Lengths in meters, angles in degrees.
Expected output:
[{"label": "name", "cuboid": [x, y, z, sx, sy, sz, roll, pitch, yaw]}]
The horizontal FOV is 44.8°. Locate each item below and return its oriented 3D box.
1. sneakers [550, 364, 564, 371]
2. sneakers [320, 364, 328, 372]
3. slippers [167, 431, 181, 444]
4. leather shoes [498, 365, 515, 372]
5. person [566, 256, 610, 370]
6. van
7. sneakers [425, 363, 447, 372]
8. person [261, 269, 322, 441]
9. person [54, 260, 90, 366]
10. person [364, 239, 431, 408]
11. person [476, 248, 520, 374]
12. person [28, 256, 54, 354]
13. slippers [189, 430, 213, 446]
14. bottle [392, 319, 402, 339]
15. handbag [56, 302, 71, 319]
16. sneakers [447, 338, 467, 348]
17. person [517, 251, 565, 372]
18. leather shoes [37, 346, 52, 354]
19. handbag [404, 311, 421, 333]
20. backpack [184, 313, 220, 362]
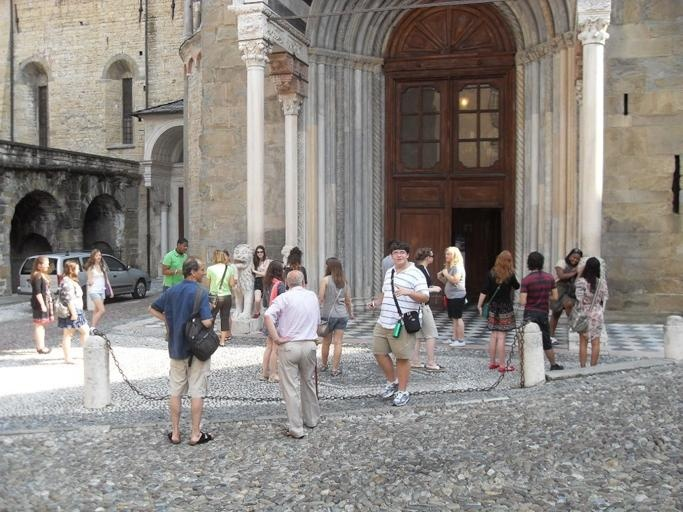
[{"label": "sneakers", "cuboid": [3.389, 1.733, 12.936, 0.085, 0.110, 0.248, 4, 9, 42]}, {"label": "sneakers", "cuboid": [-0.267, 1.794, 13.323, 0.080, 0.099, 0.212, 0, -11, -4]}, {"label": "slippers", "cuboid": [-2.092, 2.287, 10.409, 0.116, 0.101, 0.324, 0, -6, -8]}, {"label": "leather shoes", "cuboid": [2.596, 1.736, 12.998, 0.309, 0.100, 0.149, -1, 2, 3]}, {"label": "person", "cuboid": [3.988, 0.893, 13.226, 0.513, 1.800, 1.168, 1, 8, 18]}, {"label": "van", "cuboid": [-7.242, 0.481, 24.007, 1.978, 1.674, 4.042, 2, 7, 35]}, {"label": "sneakers", "cuboid": [1.514, 1.784, 13.241, 0.293, 0.137, 0.127, 0, -2, 1]}, {"label": "person", "cuboid": [-0.559, 1.235, 10.756, 0.658, 2.030, 0.704, 6, 10, 44]}, {"label": "person", "cuboid": [-4.696, 0.954, 14.457, 0.534, 1.670, 0.667, -5, 8, -26]}, {"label": "person", "cuboid": [0.838, 0.949, 11.485, 0.747, 2.214, 0.480, 0, 7, 12]}, {"label": "person", "cuboid": [2.514, 0.881, 13.103, 0.615, 1.885, 0.712, -1, 7, 0]}, {"label": "person", "cuboid": [-5.530, 0.882, 15.284, 0.350, 1.761, 0.780, -4, 8, -21]}, {"label": "slippers", "cuboid": [-1.760, 2.265, 10.398, 0.113, 0.114, 0.280, 8, 15, 34]}, {"label": "bottle", "cuboid": [0.778, 0.993, 11.340, 0.119, 0.234, 0.080, 1, 8, 15]}, {"label": "handbag", "cuboid": [-4.793, 0.919, 14.389, 0.290, 0.320, 0.195, -4, 3, 24]}, {"label": "sneakers", "cuboid": [2.113, 1.582, 15.038, 0.347, 0.154, 0.127, 2, -2, 0]}, {"label": "person", "cuboid": [3.156, 0.890, 12.955, 0.670, 1.895, 1.554, 1, 8, 14]}, {"label": "leather shoes", "cuboid": [-5.447, 1.713, 15.155, 0.227, 0.098, 0.204, -2, 8, -7]}, {"label": "handbag", "cuboid": [0.974, 0.903, 11.299, 0.199, 0.300, 0.101, -4, 0, 4]}, {"label": "backpack", "cuboid": [-1.770, 1.014, 10.430, 0.288, 0.566, 0.405, -1, 22, 31]}]
